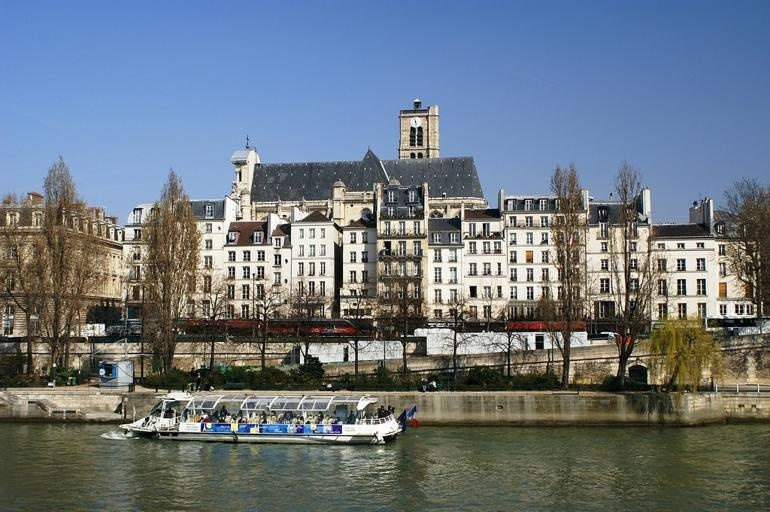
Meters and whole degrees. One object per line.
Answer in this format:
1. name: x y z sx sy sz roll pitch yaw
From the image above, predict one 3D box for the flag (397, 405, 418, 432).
1. flag: 2.310 15.038 141.337 0.273 2.327 2.492 4 -1 37
